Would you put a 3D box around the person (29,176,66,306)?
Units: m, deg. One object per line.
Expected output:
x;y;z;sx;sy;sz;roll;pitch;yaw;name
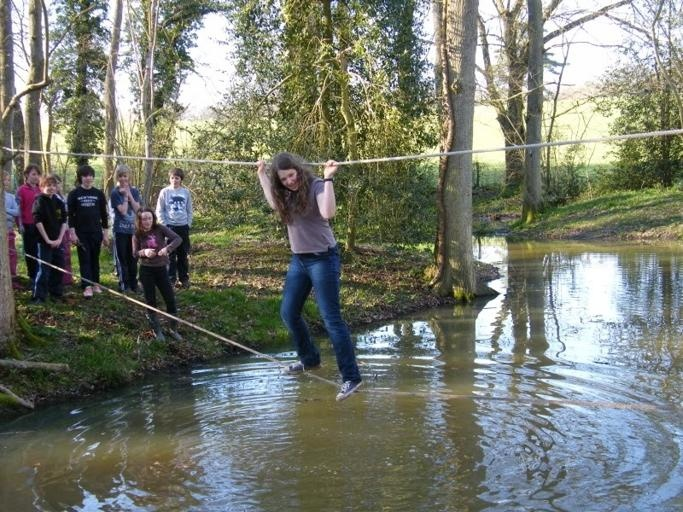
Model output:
-4.908;-0.307;13.299;0.479;2.008;0.759;-3;2;9;person

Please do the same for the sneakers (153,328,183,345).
-2.912;1.341;13.243;0.279;0.182;0.275;8;-16;-43;sneakers

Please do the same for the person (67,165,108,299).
-4.342;-0.540;13.608;0.701;2.021;0.407;-5;2;-35;person

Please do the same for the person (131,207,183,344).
-3.009;0.106;12.927;0.712;1.774;0.566;-4;2;-14;person

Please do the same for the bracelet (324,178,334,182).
-0.160;-0.935;9.742;0.105;0.033;0.137;-4;1;-8;bracelet

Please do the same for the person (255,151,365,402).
-0.387;0.273;10.086;0.968;2.404;0.675;-3;2;18;person

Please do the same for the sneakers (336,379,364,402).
0.075;1.740;10.308;0.195;0.158;0.462;34;-60;-29;sneakers
